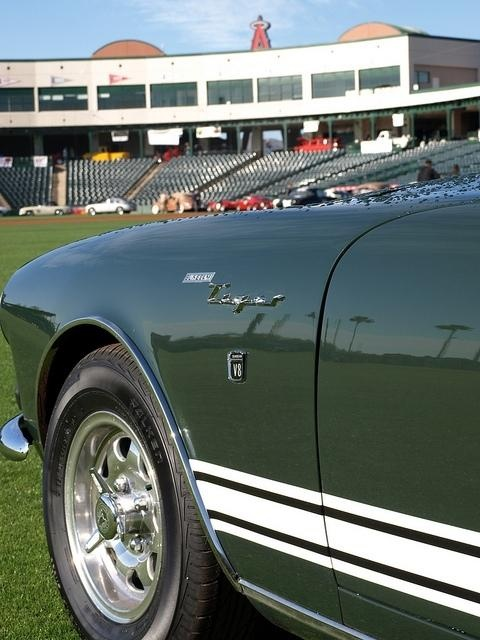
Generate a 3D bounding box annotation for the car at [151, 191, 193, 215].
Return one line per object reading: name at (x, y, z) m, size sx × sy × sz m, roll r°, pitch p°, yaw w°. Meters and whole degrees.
car at (-4.921, -8.688, 41.512) m, size 3.046 × 1.497 × 1.849 m, roll -1°, pitch 15°, yaw 41°

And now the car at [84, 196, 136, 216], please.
car at (-9.944, -8.562, 42.015) m, size 3.235 × 1.110 × 1.619 m, roll 3°, pitch 9°, yaw 11°

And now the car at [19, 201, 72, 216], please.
car at (-15.788, -8.766, 44.605) m, size 3.179 × 1.052 × 1.640 m, roll 0°, pitch 2°, yaw -8°

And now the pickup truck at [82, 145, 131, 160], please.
pickup truck at (-13.378, -16.661, 56.152) m, size 3.887 × 1.428 × 2.805 m, roll 4°, pitch 11°, yaw 18°
